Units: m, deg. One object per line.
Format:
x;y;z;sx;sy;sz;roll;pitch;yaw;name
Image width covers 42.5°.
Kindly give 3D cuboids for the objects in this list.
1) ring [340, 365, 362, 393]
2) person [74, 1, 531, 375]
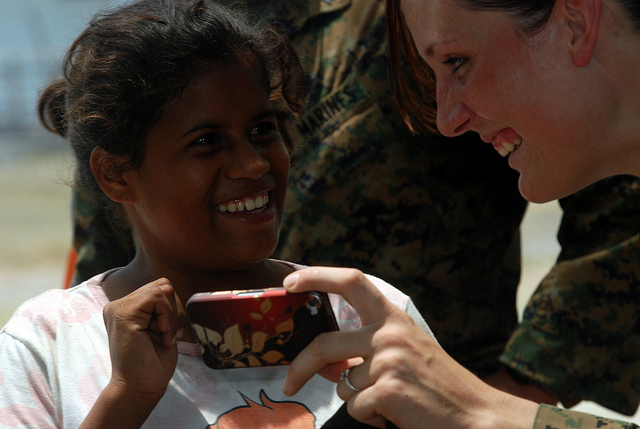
0.123;0.631;3.152;0.087;0.082;0.034;16;-3;11;ring
-0.065;-0.089;3.587;1.459;1.488;0.843;-13;0;7;person
